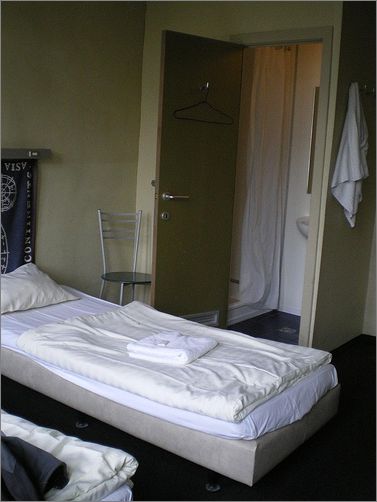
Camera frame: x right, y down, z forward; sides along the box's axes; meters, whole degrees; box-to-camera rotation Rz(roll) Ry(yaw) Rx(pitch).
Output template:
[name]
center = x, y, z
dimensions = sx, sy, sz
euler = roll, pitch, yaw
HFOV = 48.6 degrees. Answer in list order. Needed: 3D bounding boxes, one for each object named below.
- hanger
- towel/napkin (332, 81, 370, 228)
[hanger]
center = 0.116, -1.089, 3.047
dimensions = 0.454, 0.286, 0.063
euler = 11, 24, 11
[towel/napkin]
center = 1.220, -0.698, 3.057
dimensions = 0.160, 0.694, 0.453
euler = 8, 5, 33
